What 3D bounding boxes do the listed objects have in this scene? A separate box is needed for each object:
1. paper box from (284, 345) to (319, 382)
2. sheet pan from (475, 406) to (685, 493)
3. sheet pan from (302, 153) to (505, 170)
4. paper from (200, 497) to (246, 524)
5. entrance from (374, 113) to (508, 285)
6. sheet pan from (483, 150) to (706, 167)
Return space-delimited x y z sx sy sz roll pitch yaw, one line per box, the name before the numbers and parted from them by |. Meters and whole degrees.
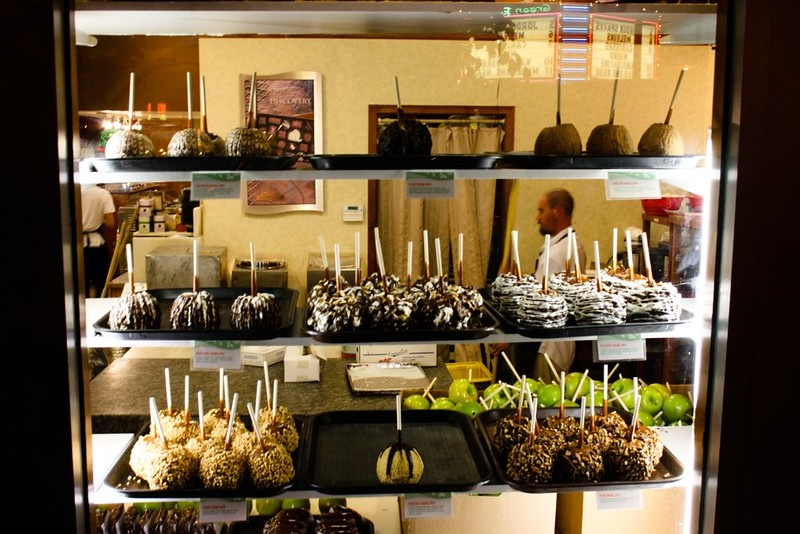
paper box | -0.456 0.458 3.324 0.152 0.133 0.210 -1 5 -4
sheet pan | 0.723 0.733 2.632 0.596 0.063 0.601 -5 1 13
sheet pan | 0.017 -0.346 2.325 0.353 0.035 0.213 0 5 -4
paper | -0.587 0.803 2.336 0.095 0.024 0.103 1 4 -1
entrance | 0.272 -0.413 4.894 0.993 1.297 0.101 -7 24 -15
sheet pan | 0.666 -0.354 2.363 0.417 0.042 0.240 0 3 -2
